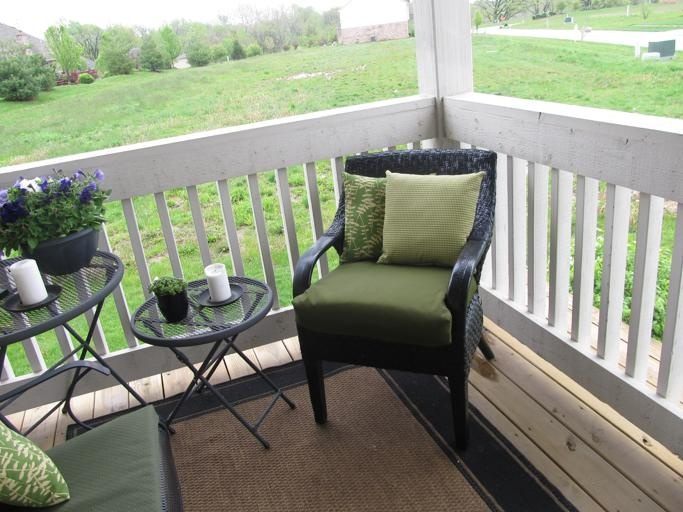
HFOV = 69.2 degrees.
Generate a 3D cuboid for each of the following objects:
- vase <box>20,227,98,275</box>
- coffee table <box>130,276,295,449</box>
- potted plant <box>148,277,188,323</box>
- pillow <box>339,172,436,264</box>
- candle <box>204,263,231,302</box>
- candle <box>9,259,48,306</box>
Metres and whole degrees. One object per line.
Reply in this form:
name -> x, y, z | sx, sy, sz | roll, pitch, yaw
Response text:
vase -> -1.188, -0.006, 2.114 | 0.227, 0.133, 0.226 | -7, 7, -4
coffee table -> -0.575, 0.555, 2.482 | 0.724, 0.802, 0.703 | -16, 23, -22
potted plant -> -0.750, 0.187, 2.156 | 0.144, 0.179, 0.113 | 3, 27, 22
pillow -> 0.104, -0.194, 2.571 | 0.165, 0.459, 0.438 | 7, 9, 36
candle -> -0.562, 0.130, 2.231 | 0.094, 0.154, 0.096 | 22, 40, 38
candle -> -1.290, 0.116, 2.040 | 0.112, 0.194, 0.112 | -9, 19, 9
